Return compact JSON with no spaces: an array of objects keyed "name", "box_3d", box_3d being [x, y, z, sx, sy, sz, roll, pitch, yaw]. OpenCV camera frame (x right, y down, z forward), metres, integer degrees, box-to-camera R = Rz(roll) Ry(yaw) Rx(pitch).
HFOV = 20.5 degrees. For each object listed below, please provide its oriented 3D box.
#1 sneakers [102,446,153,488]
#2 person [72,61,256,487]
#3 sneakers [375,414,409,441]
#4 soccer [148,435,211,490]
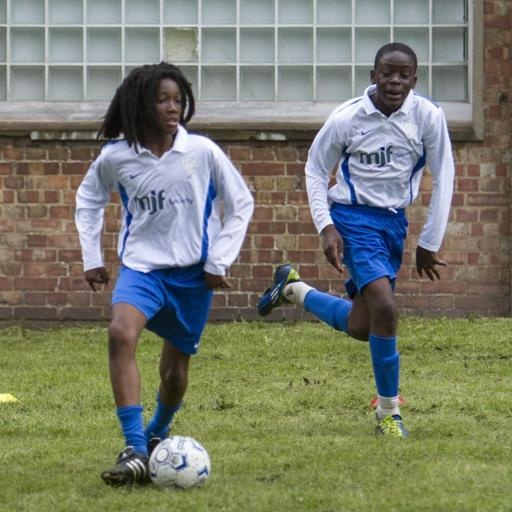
[{"name":"sneakers","box_3d":[-0.775,1.269,8.672,0.349,0.204,0.123,-9,5,-37]},{"name":"person","box_3d":[-0.573,0.038,9.106,1.081,2.531,1.171,-5,10,-20]},{"name":"sneakers","box_3d":[0.904,1.131,9.478,0.260,0.118,0.209,3,11,22]},{"name":"soccer","box_3d":[-0.492,1.271,8.830,0.321,0.300,0.375,6,3,-7]}]
